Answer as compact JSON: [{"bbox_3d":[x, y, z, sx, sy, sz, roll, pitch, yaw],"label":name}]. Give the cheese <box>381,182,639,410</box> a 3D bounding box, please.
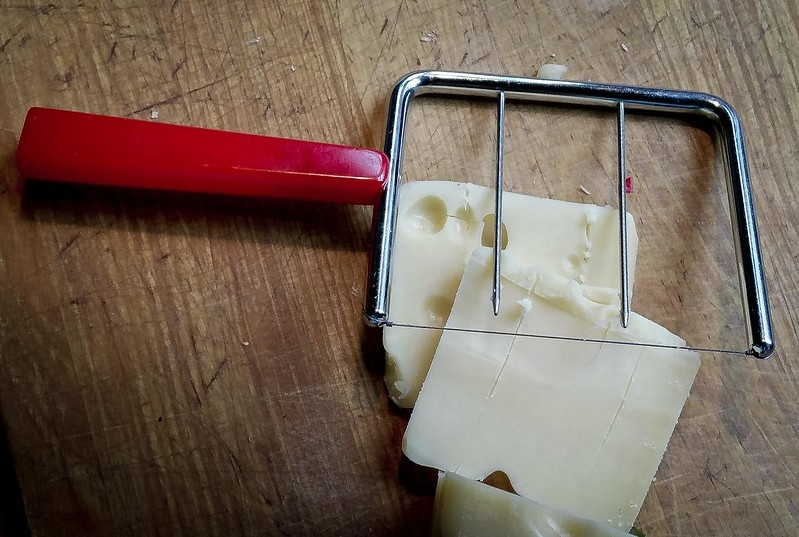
[{"bbox_3d":[0.130,-0.034,1.482,0.480,0.508,0.340,-5,-39,0],"label":"cheese"}]
